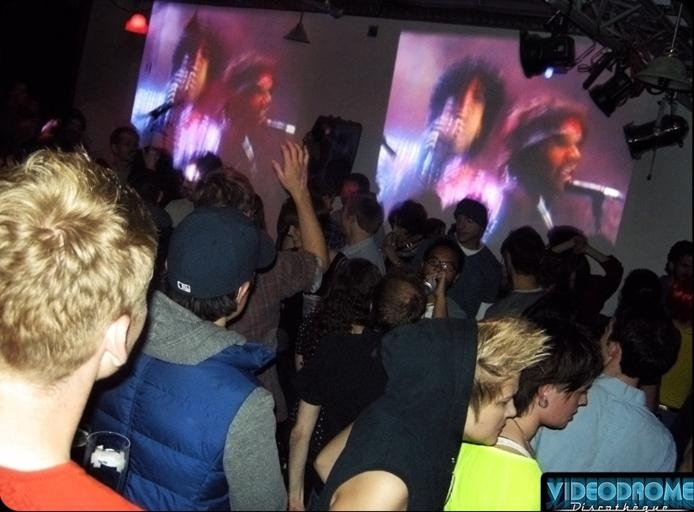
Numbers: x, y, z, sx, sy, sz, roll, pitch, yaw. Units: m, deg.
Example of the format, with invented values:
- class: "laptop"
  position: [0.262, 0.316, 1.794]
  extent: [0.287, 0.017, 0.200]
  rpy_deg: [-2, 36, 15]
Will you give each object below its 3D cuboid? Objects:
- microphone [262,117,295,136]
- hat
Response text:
- class: "microphone"
  position: [-1.038, -2.004, 8.158]
  extent: [0.636, 0.236, 0.088]
  rpy_deg: [19, 8, 23]
- class: "hat"
  position: [-0.455, -0.006, 1.959]
  extent: [0.252, 0.190, 0.371]
  rpy_deg: [18, 41, 16]
